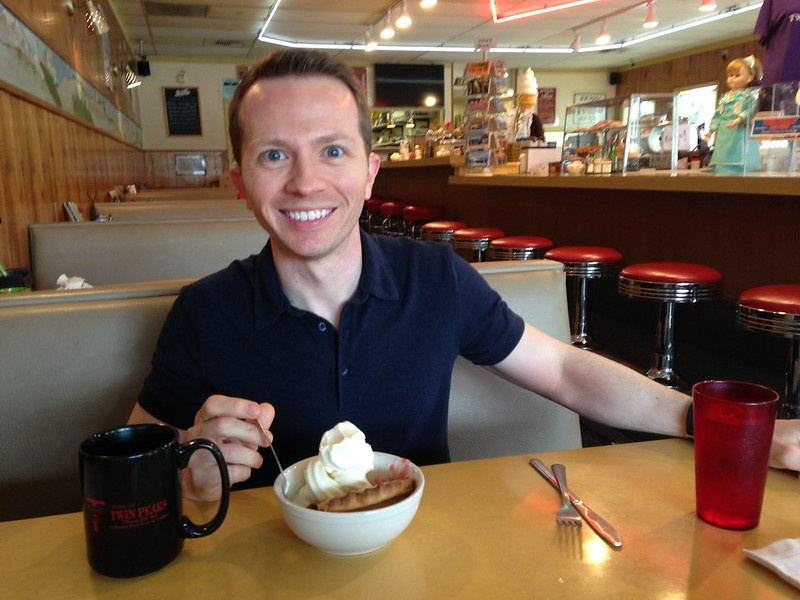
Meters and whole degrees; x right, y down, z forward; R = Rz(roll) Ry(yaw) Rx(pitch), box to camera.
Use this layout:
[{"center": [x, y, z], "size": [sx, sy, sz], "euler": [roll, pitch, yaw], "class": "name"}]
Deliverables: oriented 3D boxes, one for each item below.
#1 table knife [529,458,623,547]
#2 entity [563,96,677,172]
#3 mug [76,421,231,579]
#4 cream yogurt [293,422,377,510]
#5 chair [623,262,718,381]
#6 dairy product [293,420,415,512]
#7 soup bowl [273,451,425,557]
[{"center": [0.276, 0.307, 0.843], "size": [0.030, 0.009, 0.205], "euler": [-5, 9, -8], "class": "table knife"}, {"center": [1.546, -1.124, 3.885], "size": [0.373, 0.473, 0.668], "euler": [-10, 17, -27], "class": "entity"}, {"center": [-0.352, 0.267, 0.796], "size": [0.184, 0.180, 0.185], "euler": [-6, 13, -21], "class": "mug"}, {"center": [-0.101, 0.232, 0.776], "size": [0.093, 0.057, 0.124], "euler": [1, -3, 6], "class": "cream yogurt"}, {"center": [1.360, 0.142, 2.797], "size": [0.429, 0.545, 0.418], "euler": [0, 0, 15], "class": "chair"}, {"center": [-0.070, 0.213, 0.795], "size": [0.133, 0.082, 0.131], "euler": [-5, 6, -32], "class": "dairy product"}, {"center": [-0.074, 0.294, 0.790], "size": [0.205, 0.096, 0.180], "euler": [-4, 12, -12], "class": "soup bowl"}]
